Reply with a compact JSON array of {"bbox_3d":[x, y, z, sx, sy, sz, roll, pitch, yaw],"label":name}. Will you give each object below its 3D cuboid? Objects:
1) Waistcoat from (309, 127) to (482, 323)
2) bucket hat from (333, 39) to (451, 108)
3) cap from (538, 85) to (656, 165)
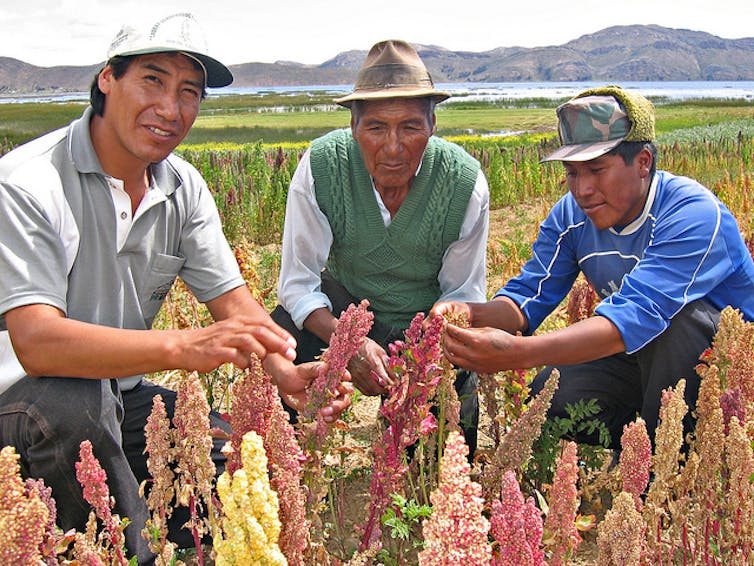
[{"bbox_3d":[0.116,-0.340,3.730,0.863,1.091,0.577,4,41,1],"label":"Waistcoat"},{"bbox_3d":[0.097,-1.175,3.544,0.467,0.287,0.595,1,18,6],"label":"bucket hat"},{"bbox_3d":[1.236,-0.867,3.454,0.544,0.331,0.404,-11,8,-36],"label":"cap"}]
